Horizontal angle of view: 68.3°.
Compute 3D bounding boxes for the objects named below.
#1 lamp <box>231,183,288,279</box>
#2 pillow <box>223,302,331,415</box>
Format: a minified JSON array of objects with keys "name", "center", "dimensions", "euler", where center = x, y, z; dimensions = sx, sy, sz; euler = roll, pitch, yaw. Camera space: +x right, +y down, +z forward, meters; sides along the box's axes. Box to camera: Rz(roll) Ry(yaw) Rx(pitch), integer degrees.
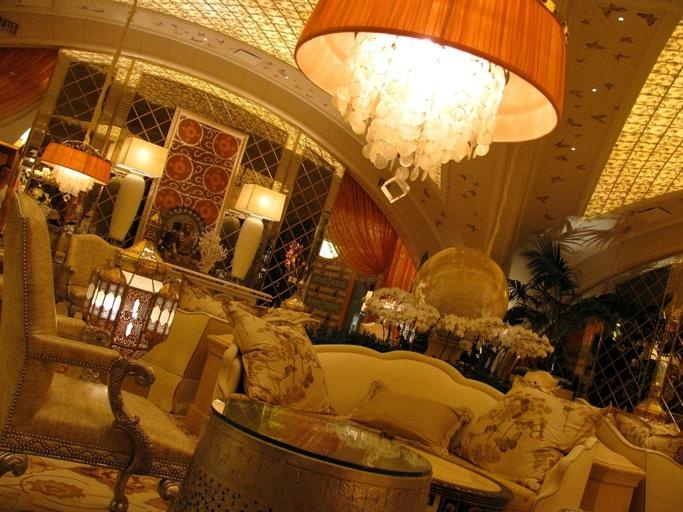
[{"name":"lamp","center":[-1.416,-0.352,7.836],"dimensions":[0.830,1.429,0.824],"euler":[11,-7,38]},{"name":"pillow","center":[-0.386,0.602,3.003],"dimensions":[0.521,0.321,0.599],"euler":[4,-16,46]}]
